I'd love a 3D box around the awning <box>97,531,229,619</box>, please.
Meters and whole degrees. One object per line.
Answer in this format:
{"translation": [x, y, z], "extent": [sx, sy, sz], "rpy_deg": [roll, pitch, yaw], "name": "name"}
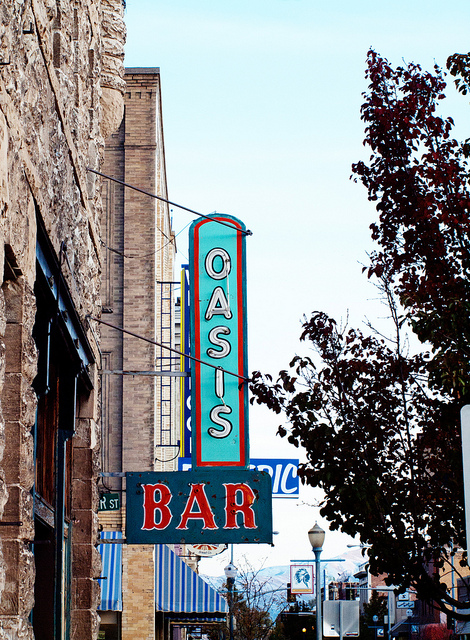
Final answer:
{"translation": [-1.235, 4.294, 33.536], "extent": [2.065, 1.461, 2.820], "rpy_deg": [-1, -16, -4], "name": "awning"}
